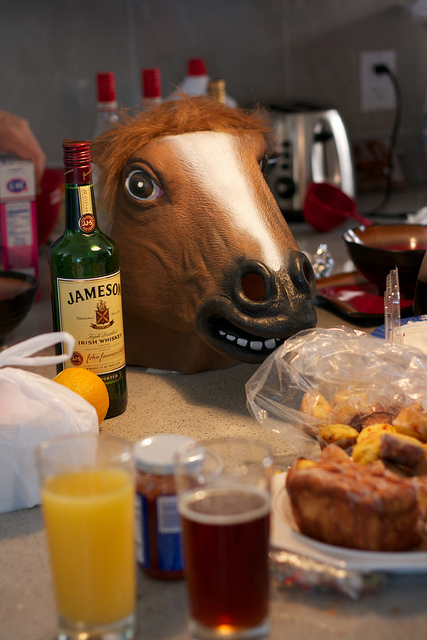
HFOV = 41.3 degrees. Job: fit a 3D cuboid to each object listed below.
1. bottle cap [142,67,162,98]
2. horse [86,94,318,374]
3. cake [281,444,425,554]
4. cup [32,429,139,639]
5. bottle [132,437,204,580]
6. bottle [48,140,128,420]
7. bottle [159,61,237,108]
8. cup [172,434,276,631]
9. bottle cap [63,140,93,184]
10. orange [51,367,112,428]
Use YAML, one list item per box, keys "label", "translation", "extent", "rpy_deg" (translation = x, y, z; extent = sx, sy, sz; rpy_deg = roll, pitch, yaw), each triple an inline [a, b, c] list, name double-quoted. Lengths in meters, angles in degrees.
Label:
- label: "bottle cap"
  translation: [-0.082, -0.320, 0.762]
  extent: [0.022, 0.038, 0.043]
  rpy_deg: [-5, 14, -8]
- label: "horse"
  translation: [0.024, -0.133, 0.681]
  extent: [0.225, 0.237, 0.350]
  rpy_deg: [-21, 36, -32]
- label: "cake"
  translation: [0.082, 0.094, 0.334]
  extent: [0.058, 0.028, 0.060]
  rpy_deg: [20, 13, 25]
- label: "cup"
  translation: [-0.055, 0.111, 0.270]
  extent: [0.044, 0.107, 0.048]
  rpy_deg: [-3, 14, 1]
- label: "bottle"
  translation: [-0.025, 0.127, 0.357]
  extent: [0.045, 0.070, 0.045]
  rpy_deg: [-3, -15, -1]
- label: "bottle"
  translation: [-0.115, -0.037, 0.576]
  extent: [0.080, 0.251, 0.081]
  rpy_deg: [2, 23, -1]
- label: "bottle"
  translation: [-0.029, -0.479, 1.168]
  extent: [0.065, 0.100, 0.124]
  rpy_deg: [11, 25, 40]
- label: "cup"
  translation: [0.007, 0.106, 0.279]
  extent: [0.046, 0.100, 0.044]
  rpy_deg: [-3, 14, 1]
- label: "bottle cap"
  translation: [-0.122, -0.137, 0.511]
  extent: [0.034, 0.043, 0.033]
  rpy_deg: [-5, 20, -14]
- label: "orange"
  translation: [-0.123, 0.076, 0.505]
  extent: [0.054, 0.059, 0.051]
  rpy_deg: [-9, -15, -18]
